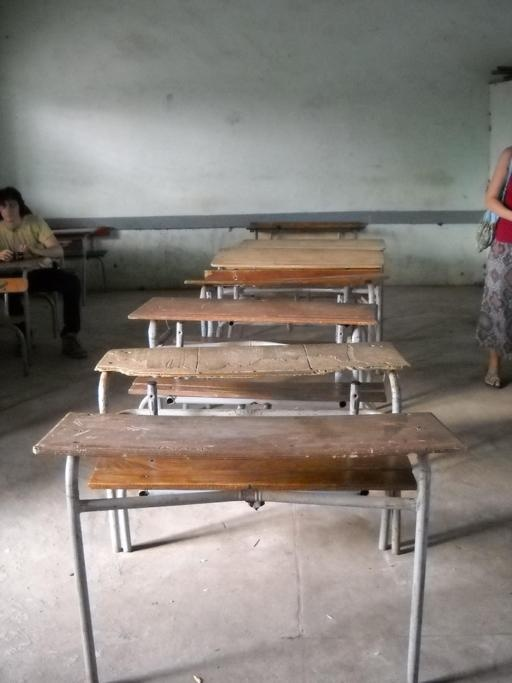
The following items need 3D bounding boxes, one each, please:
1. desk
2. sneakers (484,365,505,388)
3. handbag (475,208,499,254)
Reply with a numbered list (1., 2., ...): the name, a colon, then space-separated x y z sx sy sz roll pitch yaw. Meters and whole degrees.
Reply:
1. desk: -0.028 0.363 1.701 0.916 0.656 1.099 3 11 5
2. sneakers: 1.393 0.203 3.518 0.075 0.073 0.188 -2 11 10
3. handbag: 1.208 -0.594 3.161 0.102 0.252 0.021 11 4 -16
